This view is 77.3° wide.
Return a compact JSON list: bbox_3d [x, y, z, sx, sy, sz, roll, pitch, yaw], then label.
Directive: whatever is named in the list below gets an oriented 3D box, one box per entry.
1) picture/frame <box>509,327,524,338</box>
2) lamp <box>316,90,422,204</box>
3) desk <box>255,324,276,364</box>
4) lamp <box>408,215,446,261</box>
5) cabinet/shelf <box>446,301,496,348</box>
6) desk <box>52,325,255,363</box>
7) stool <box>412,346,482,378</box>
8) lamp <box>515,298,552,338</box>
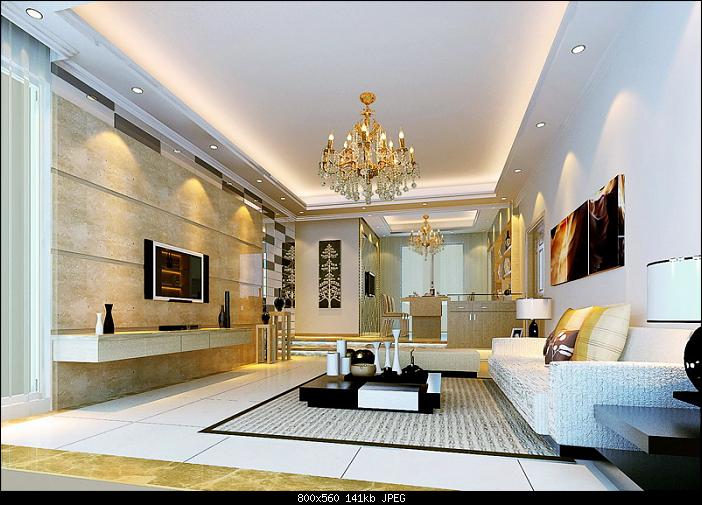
[{"bbox_3d":[2.829,1.346,7.537,0.209,0.208,0.165,-1,-24,12],"label":"picture/frame"},{"bbox_3d":[0.191,-1.393,5.616,1.087,1.370,1.132,-5,-5,42],"label":"lamp"},{"bbox_3d":[-1.515,1.519,7.415,0.306,0.631,0.306,1,-5,-17],"label":"desk"},{"bbox_3d":[2.001,-0.370,11.753,1.017,1.394,1.053,-1,-12,10],"label":"lamp"},{"bbox_3d":[2.222,1.340,8.325,0.976,0.911,0.367,1,-2,-4],"label":"cabinet/shelf"},{"bbox_3d":[-2.110,0.989,4.899,0.453,0.283,2.110,-8,-12,24],"label":"desk"},{"bbox_3d":[1.225,1.445,5.736,0.906,0.380,0.485,-3,-10,-5],"label":"stool"},{"bbox_3d":[2.344,0.910,5.679,0.427,0.671,0.440,-1,-5,16],"label":"lamp"}]
